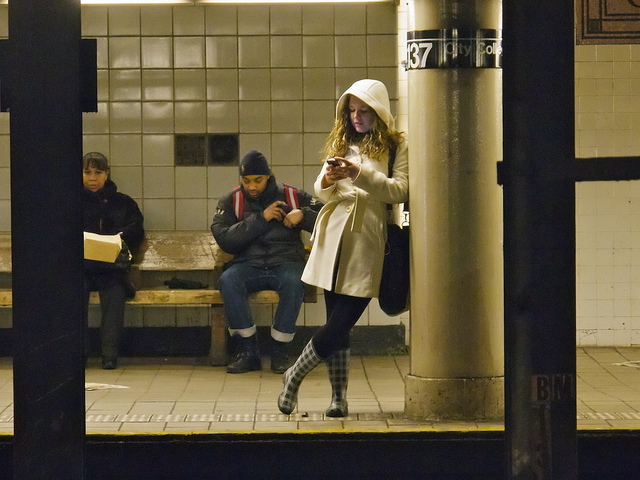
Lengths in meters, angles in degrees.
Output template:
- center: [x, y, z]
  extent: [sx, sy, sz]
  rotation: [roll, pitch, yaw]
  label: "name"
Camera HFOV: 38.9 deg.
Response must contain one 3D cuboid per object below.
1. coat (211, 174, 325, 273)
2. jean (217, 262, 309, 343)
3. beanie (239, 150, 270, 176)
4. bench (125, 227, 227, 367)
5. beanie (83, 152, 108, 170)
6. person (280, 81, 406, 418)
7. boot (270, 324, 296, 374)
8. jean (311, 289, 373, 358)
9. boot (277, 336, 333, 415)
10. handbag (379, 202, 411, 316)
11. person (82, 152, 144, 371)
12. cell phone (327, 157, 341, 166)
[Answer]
- center: [-0.395, -0.102, 6.592]
  extent: [0.806, 0.778, 0.542]
  rotation: [-4, 4, -8]
  label: "coat"
- center: [-0.368, 0.434, 6.400]
  extent: [0.651, 0.573, 0.466]
  rotation: [0, 3, 12]
  label: "jean"
- center: [-0.465, -0.536, 6.293]
  extent: [0.139, 0.142, 0.195]
  rotation: [0, -1, -1]
  label: "beanie"
- center: [-1.044, 0.381, 6.761]
  extent: [1.004, 0.768, 0.593]
  rotation: [0, 2, -6]
  label: "bench"
- center: [-1.667, -0.573, 6.684]
  extent: [0.137, 0.106, 0.142]
  rotation: [1, 1, 8]
  label: "beanie"
- center: [0.142, 0.036, 5.045]
  extent: [0.583, 1.904, 0.635]
  rotation: [15, -16, -39]
  label: "person"
- center: [-0.220, 0.765, 6.240]
  extent: [0.116, 0.369, 0.248]
  rotation: [1, -22, -10]
  label: "boot"
- center: [0.123, 0.464, 4.945]
  extent: [0.307, 0.377, 0.211]
  rotation: [1, 8, 12]
  label: "jean"
- center: [-0.086, 0.739, 5.004]
  extent: [0.306, 0.441, 0.182]
  rotation: [0, 7, 6]
  label: "boot"
- center: [0.427, 0.127, 4.998]
  extent: [0.146, 0.520, 0.310]
  rotation: [1, -1, 29]
  label: "handbag"
- center: [-1.503, 0.134, 6.585]
  extent: [0.438, 1.502, 0.791]
  rotation: [-2, 8, -11]
  label: "person"
- center: [0.066, -0.410, 4.777]
  extent: [0.079, 0.040, 0.038]
  rotation: [5, 10, 33]
  label: "cell phone"
